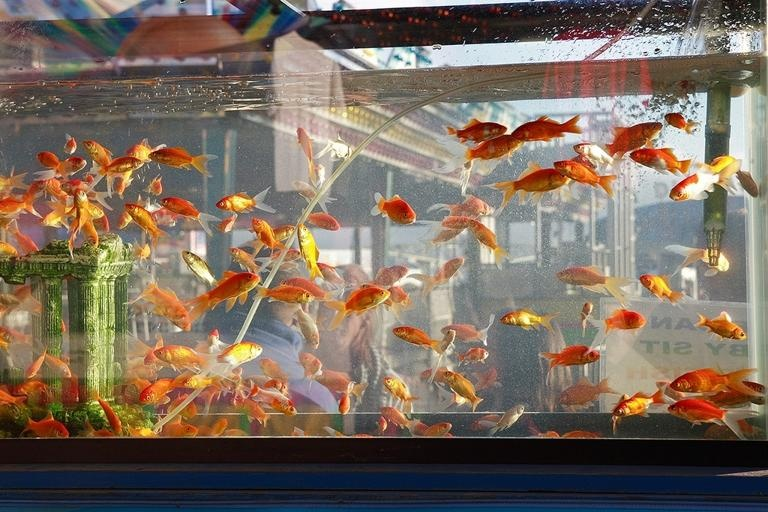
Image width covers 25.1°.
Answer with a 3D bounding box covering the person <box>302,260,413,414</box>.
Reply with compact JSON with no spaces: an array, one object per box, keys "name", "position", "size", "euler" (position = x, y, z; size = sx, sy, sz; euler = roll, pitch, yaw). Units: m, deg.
[{"name":"person","position":[-0.174,0.417,10.419],"size":[0.668,0.992,0.335],"euler":[10,0,-13]}]
